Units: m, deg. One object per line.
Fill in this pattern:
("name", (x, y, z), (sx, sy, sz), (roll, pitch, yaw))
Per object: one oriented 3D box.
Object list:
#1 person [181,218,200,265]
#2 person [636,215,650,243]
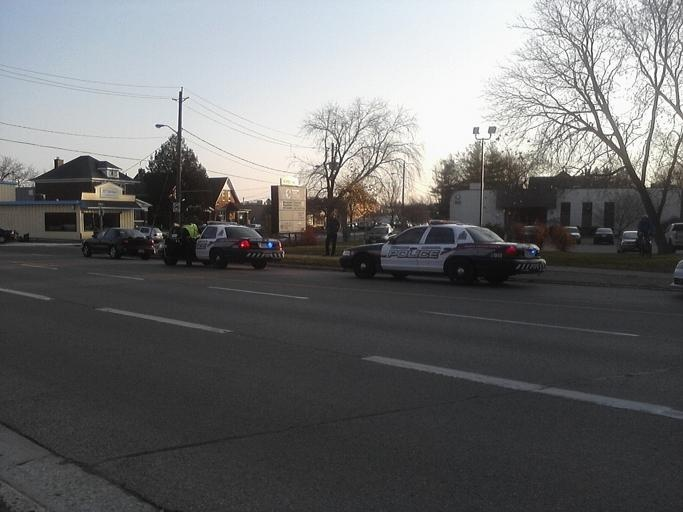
("person", (-6.539, -0.581, 25.684), (0.453, 1.717, 0.940), (1, 2, -36))
("person", (14.543, -1.244, 27.906), (0.505, 1.096, 1.385), (1, 4, 26))
